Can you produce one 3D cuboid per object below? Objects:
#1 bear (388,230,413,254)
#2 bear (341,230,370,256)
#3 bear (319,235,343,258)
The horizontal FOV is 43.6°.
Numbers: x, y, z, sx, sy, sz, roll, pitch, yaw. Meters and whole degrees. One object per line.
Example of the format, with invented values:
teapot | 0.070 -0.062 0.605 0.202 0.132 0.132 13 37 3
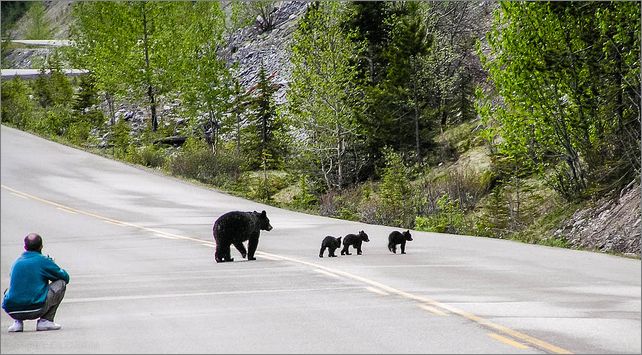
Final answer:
bear | 4.428 3.550 45.382 1.643 1.212 0.759 4 -9 -36
bear | 1.851 3.613 45.193 1.519 1.319 1.071 5 1 -10
bear | 0.445 3.800 44.556 1.230 1.129 0.842 5 1 -9
